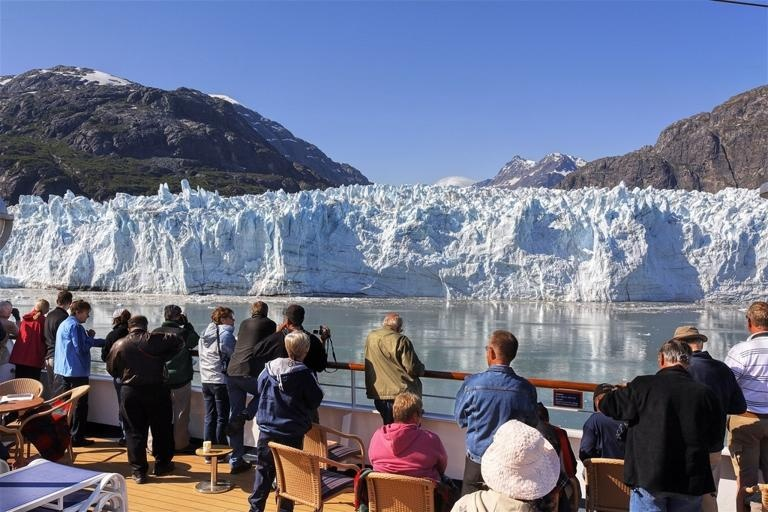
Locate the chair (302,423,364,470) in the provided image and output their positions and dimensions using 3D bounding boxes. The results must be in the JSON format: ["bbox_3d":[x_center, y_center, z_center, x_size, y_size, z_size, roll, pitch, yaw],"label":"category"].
[{"bbox_3d":[-2.538,8.408,41.743,2.458,2.945,2.185,-5,7,-41],"label":"chair"}]
